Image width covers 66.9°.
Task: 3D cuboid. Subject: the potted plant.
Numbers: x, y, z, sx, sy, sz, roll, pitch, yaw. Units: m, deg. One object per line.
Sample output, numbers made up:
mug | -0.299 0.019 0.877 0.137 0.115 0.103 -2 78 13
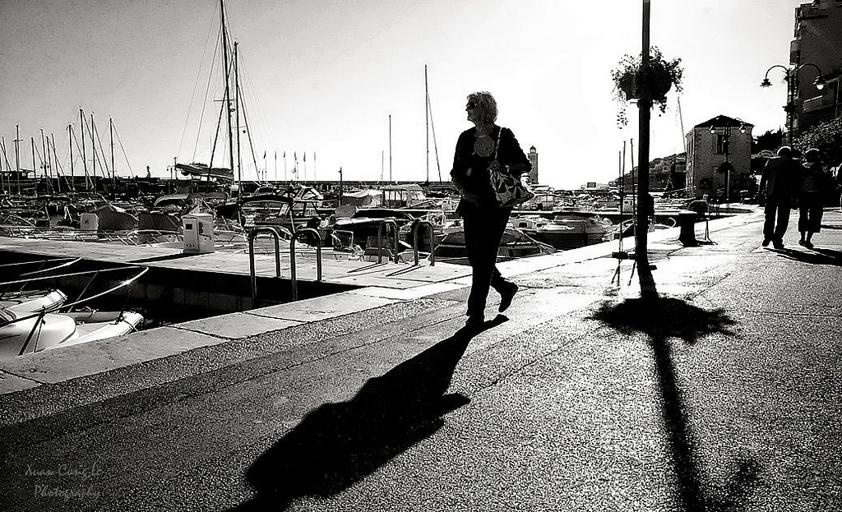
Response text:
potted plant | 4.405 -3.389 12.512 1.107 1.442 1.342 2 8 30

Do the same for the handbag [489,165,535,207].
handbag | 1.142 -0.896 8.057 0.556 0.553 0.208 -6 8 -29

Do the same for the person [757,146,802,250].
person | 8.475 -1.380 15.040 0.799 2.382 1.091 1 8 28
